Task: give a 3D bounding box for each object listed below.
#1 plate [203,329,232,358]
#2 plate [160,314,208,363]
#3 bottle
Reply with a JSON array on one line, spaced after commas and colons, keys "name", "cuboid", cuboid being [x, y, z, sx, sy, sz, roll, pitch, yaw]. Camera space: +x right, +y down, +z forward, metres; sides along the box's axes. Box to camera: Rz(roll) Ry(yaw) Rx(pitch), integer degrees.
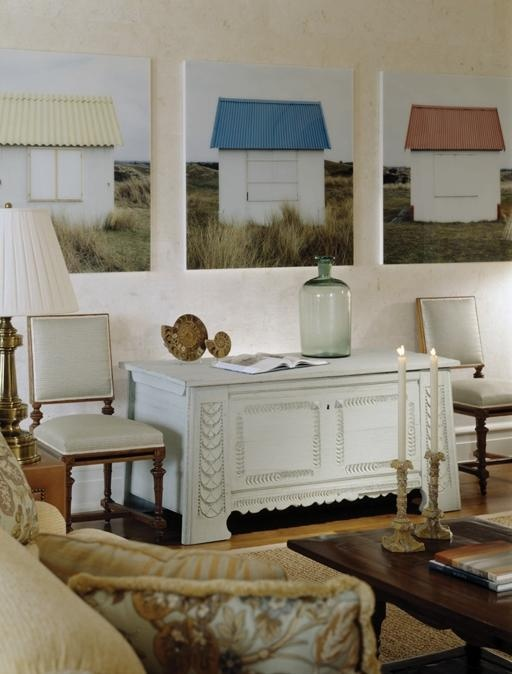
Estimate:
[{"name": "plate", "cuboid": [-0.177, 0.031, 3.654, 0.120, 0.123, 0.035, -10, 7, -30]}, {"name": "plate", "cuboid": [-0.358, 0.004, 3.620, 0.265, 0.218, 0.042, 6, 1, -38]}, {"name": "bottle", "cuboid": [0.335, -0.097, 3.637, 0.241, 0.400, 0.173, -2, 7, 2]}]
